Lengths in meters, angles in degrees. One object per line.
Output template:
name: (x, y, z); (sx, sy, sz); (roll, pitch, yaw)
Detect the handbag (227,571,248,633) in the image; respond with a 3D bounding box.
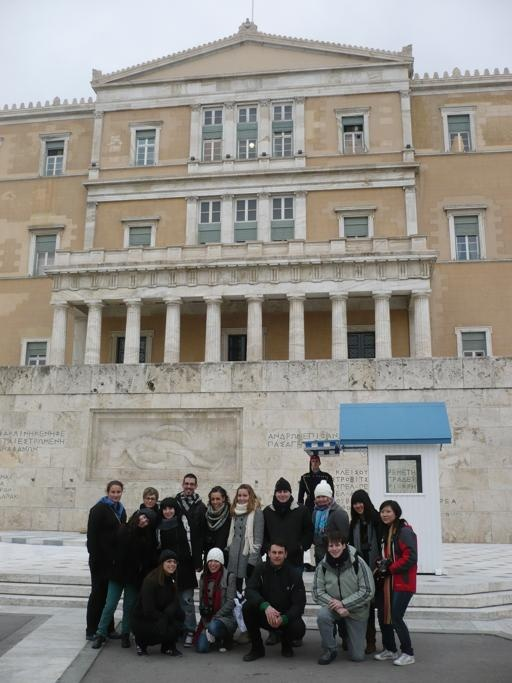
handbag: (-0.200, 2.991, 7.369); (0.223, 0.599, 0.447); (3, -5, -12)

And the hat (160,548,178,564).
hat: (-0.958, 2.330, 7.206); (0.134, 0.129, 0.150); (11, -13, -30)

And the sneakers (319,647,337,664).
sneakers: (0.702, 3.199, 6.735); (0.092, 0.165, 0.271); (-7, -24, 17)

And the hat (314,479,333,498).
hat: (0.883, 1.970, 8.785); (0.212, 0.240, 0.288); (2, -34, 9)

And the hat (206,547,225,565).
hat: (-0.478, 2.455, 7.596); (0.197, 0.164, 0.197); (0, -17, 3)

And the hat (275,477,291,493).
hat: (0.325, 1.751, 8.161); (0.194, 0.193, 0.259); (1, -18, -4)

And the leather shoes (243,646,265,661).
leather shoes: (-0.025, 3.217, 6.810); (0.226, 0.154, 0.085); (9, -16, -20)

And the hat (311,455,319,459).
hat: (0.991, 1.935, 11.235); (0.100, 0.055, 0.130); (-1, -16, 2)

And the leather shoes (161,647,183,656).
leather shoes: (-0.908, 3.269, 7.032); (0.220, 0.105, 0.186); (1, -13, -4)

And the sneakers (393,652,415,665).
sneakers: (1.463, 3.153, 6.601); (0.246, 0.098, 0.090); (2, -10, -16)

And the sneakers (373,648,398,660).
sneakers: (1.343, 3.244, 6.897); (0.243, 0.103, 0.095); (3, -16, 2)
